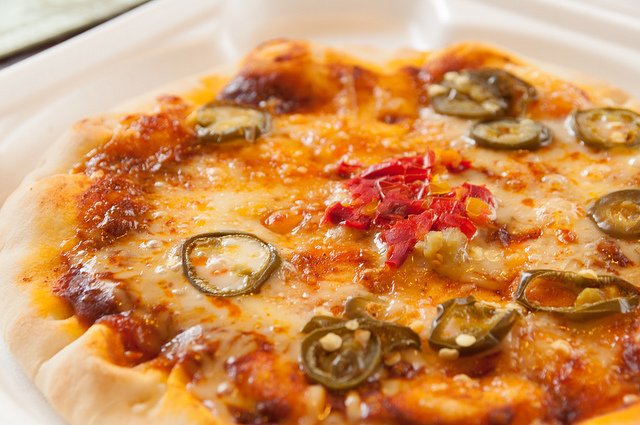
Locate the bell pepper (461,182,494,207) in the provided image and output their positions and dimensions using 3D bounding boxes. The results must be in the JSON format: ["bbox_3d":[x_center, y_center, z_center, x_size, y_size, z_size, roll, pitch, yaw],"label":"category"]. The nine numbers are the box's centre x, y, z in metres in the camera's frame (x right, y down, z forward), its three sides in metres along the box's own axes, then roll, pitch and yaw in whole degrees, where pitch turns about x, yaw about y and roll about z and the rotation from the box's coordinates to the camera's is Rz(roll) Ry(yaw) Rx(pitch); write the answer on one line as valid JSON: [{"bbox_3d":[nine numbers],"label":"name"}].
[{"bbox_3d":[1.055,-0.126,4.286,0.178,0.054,0.165,24,27,-5],"label":"bell pepper"}]

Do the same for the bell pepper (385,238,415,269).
[{"bbox_3d":[0.505,0.251,4.090,0.142,0.217,0.057,25,-16,21],"label":"bell pepper"}]
